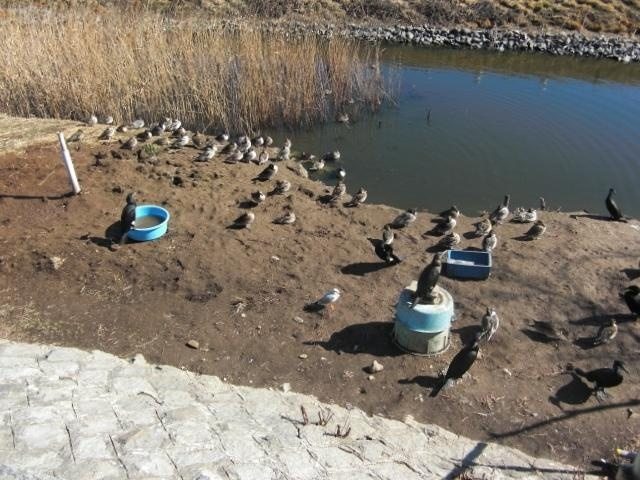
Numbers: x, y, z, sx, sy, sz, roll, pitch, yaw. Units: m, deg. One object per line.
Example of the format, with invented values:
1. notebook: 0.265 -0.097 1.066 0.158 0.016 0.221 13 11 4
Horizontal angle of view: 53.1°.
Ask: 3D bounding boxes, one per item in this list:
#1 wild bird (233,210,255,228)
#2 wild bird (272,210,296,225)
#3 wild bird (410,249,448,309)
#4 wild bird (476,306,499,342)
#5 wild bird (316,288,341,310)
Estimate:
1. wild bird: -2.554 -0.650 21.896 0.707 0.717 0.435 -17 70 4
2. wild bird: -1.236 -0.840 22.437 0.687 0.467 0.403 -8 48 -11
3. wild bird: 3.033 1.170 18.180 0.719 1.415 0.582 3 31 -6
4. wild bird: 5.019 2.578 19.113 0.568 0.740 1.073 10 62 21
5. wild bird: 0.263 1.769 19.696 0.795 0.559 0.390 -3 17 -6
